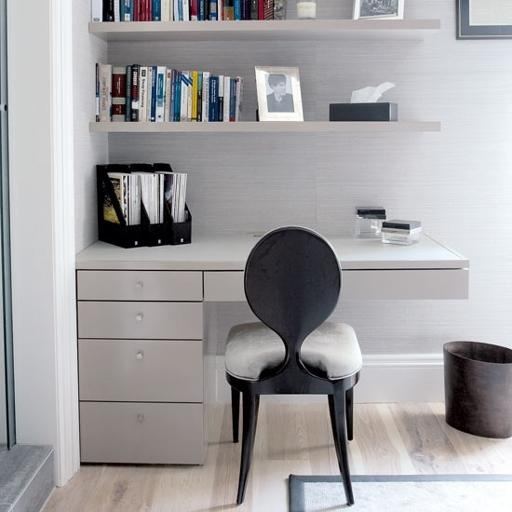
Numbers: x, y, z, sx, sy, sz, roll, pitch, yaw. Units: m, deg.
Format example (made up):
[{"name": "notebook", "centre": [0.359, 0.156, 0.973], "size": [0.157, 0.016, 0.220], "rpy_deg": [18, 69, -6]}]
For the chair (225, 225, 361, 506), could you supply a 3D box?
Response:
[{"name": "chair", "centre": [0.133, 0.335, 1.926], "size": [0.468, 0.941, 0.379], "rpy_deg": [-1, 11, -2]}]

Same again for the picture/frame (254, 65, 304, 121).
[{"name": "picture/frame", "centre": [0.098, -0.674, 2.316], "size": [0.257, 0.347, 0.024], "rpy_deg": [-1, -18, -15]}]
